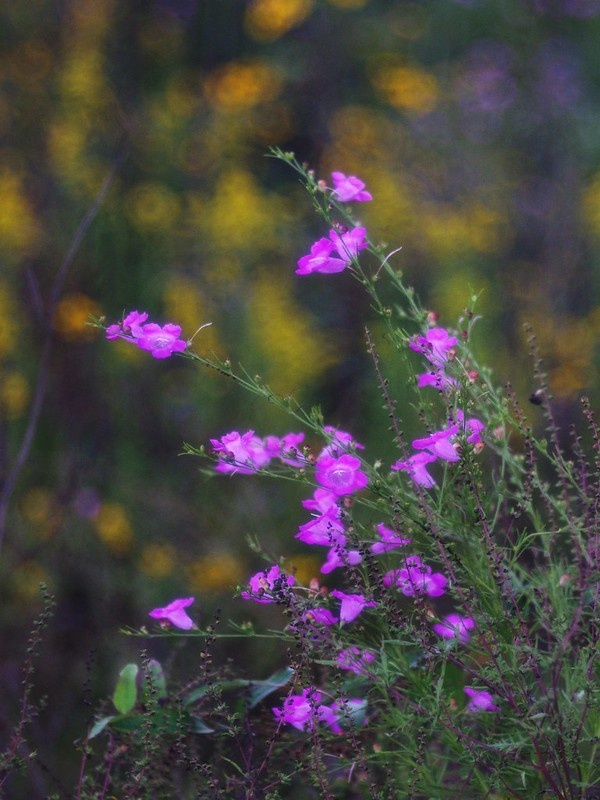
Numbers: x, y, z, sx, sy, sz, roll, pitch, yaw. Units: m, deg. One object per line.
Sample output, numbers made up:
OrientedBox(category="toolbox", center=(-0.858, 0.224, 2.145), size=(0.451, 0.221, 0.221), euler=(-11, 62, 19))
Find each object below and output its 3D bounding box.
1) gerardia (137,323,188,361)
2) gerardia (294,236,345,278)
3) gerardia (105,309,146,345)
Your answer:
OrientedBox(category="gerardia", center=(-0.182, -0.078, 1.631), size=(0.061, 0.048, 0.023), euler=(-16, -15, -10))
OrientedBox(category="gerardia", center=(0.027, -0.199, 1.663), size=(0.076, 0.048, 0.028), euler=(-23, 21, -13))
OrientedBox(category="gerardia", center=(-0.229, -0.104, 1.645), size=(0.056, 0.025, 0.058), euler=(-27, -9, 37))
